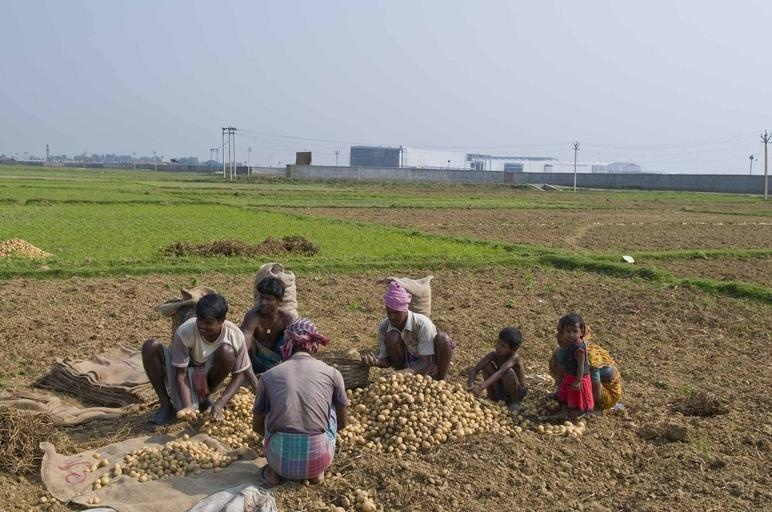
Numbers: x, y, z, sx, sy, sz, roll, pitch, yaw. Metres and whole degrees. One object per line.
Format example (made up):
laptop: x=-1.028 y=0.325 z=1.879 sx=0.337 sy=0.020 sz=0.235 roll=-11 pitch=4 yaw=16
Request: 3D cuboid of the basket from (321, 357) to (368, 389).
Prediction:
basket: x=-0.617 y=1.720 z=10.615 sx=0.532 sy=0.313 sz=0.689 roll=1 pitch=0 yaw=-3

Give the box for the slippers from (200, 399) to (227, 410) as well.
slippers: x=-2.592 y=2.200 z=10.718 sx=0.248 sy=0.073 sz=0.244 roll=6 pitch=2 yaw=41

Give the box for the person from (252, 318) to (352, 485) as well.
person: x=-1.131 y=1.976 z=9.619 sx=1.227 sy=2.054 sz=0.605 roll=1 pitch=6 yaw=-11

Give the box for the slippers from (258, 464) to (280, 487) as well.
slippers: x=-1.533 y=2.900 z=9.599 sx=0.166 sy=0.240 sz=0.323 roll=-1 pitch=12 yaw=-30

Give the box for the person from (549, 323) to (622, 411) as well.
person: x=3.016 y=1.589 z=11.054 sx=0.967 sy=1.382 sz=0.873 roll=-1 pitch=-3 yaw=27
